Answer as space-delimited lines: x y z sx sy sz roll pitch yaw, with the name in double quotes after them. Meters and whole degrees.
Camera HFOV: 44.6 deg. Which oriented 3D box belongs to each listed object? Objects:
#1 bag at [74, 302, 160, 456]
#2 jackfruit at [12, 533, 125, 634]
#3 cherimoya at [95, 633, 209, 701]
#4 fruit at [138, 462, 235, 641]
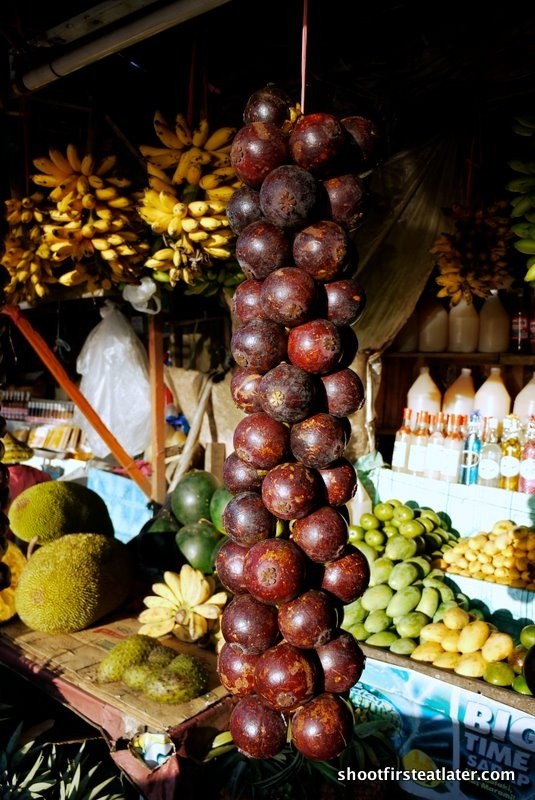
-0.811 -0.100 3.437 0.405 0.813 0.205 -1 10 -1 "bag"
-0.763 0.729 2.653 0.292 0.247 0.466 -14 -4 8 "jackfruit"
-0.382 0.900 2.186 0.269 0.107 0.169 7 -11 24 "cherimoya"
-0.329 0.667 2.816 0.374 0.268 0.752 43 4 -8 "fruit"
